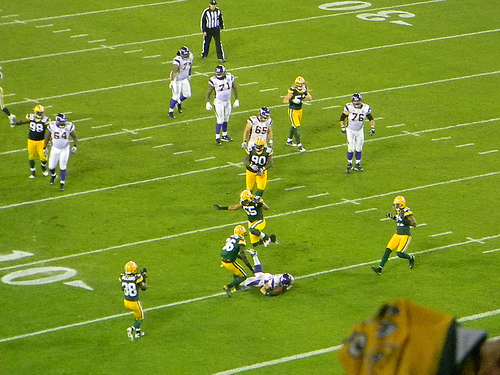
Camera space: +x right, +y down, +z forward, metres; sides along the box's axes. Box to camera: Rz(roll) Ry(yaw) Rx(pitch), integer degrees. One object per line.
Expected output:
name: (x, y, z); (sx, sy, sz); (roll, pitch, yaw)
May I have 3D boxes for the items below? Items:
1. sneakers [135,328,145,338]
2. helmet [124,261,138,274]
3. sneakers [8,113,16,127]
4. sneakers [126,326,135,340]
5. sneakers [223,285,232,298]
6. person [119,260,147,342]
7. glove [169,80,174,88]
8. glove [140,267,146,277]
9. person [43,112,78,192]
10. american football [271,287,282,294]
sneakers: (-1.941, 2.569, 15.974); (0.198, 0.167, 0.082); (-8, 58, -17)
helmet: (-2.081, 1.405, 15.981); (0.205, 0.204, 0.198); (0, 11, -7)
sneakers: (-6.209, -1.751, 23.726); (0.187, 0.448, 0.206); (-2, 16, -4)
sneakers: (-2.072, 2.537, 15.827); (0.142, 0.258, 0.111); (-10, 17, -6)
sneakers: (-0.412, 1.929, 17.023); (0.137, 0.265, 0.091); (-3, 37, 22)
person: (-2.065, 1.948, 16.117); (0.458, 1.321, 0.993); (0, 11, -8)
glove: (-2.053, -2.756, 24.375); (0.068, 0.209, 0.162); (19, 6, -21)
glove: (-1.900, 1.502, 16.069); (0.101, 0.242, 0.112); (6, -3, 7)
person: (-4.432, -0.896, 21.399); (0.731, 1.771, 1.572); (-1, 11, -11)
american football: (0.516, 1.931, 16.966); (0.180, 0.148, 0.149); (-7, 59, -13)
